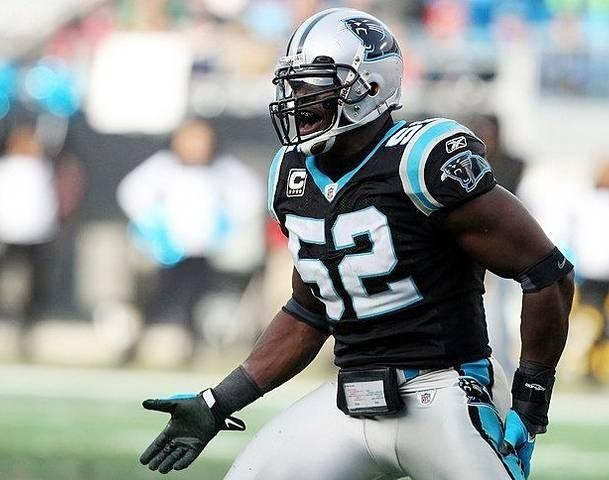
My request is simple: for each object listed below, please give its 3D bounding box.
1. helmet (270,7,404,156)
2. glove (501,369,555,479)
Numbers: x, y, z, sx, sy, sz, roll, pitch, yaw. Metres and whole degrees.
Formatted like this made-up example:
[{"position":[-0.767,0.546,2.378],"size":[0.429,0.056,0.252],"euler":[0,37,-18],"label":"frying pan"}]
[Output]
[{"position":[0.111,-0.603,3.909],"size":[0.554,0.541,0.439],"euler":[-8,3,-31],"label":"helmet"},{"position":[0.793,0.630,3.628],"size":[0.138,0.503,0.164],"euler":[13,-11,6],"label":"glove"}]
